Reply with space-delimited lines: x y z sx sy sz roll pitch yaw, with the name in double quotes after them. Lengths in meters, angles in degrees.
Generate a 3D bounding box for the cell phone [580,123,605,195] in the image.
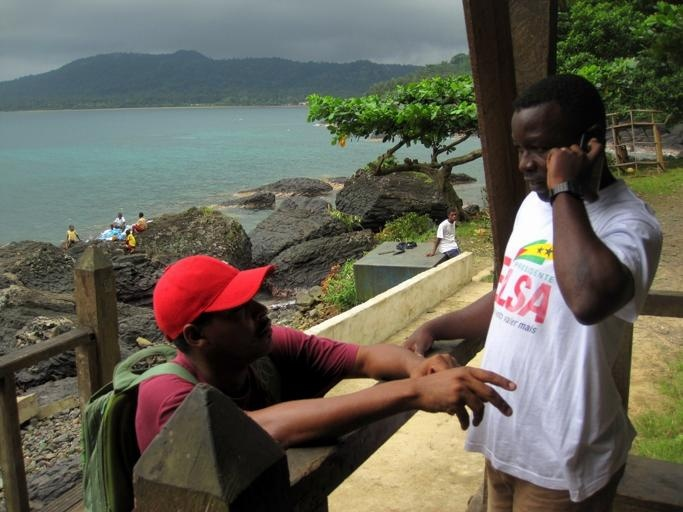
0.971 -0.375 1.988 0.038 0.344 0.152 -5 33 35 "cell phone"

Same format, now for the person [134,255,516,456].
-0.115 0.357 1.981 1.156 0.734 0.967 2 11 36 "person"

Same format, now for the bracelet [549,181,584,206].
0.840 -0.208 1.928 0.106 0.058 0.108 -13 -36 38 "bracelet"
